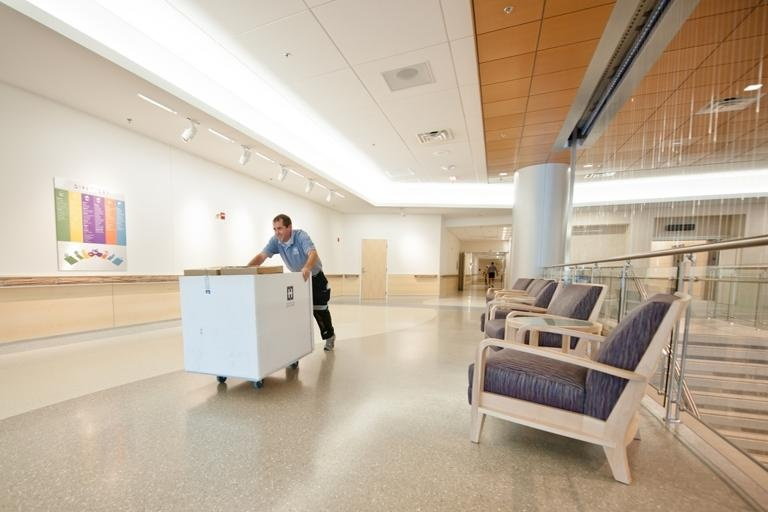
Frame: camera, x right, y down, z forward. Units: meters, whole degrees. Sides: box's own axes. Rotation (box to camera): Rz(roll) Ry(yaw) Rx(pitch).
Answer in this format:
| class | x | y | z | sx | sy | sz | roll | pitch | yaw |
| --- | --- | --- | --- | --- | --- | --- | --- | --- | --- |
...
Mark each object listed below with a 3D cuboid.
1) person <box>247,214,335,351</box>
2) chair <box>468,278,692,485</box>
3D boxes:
| class | x | y | z | sx | sy | sz | roll | pitch | yaw |
| --- | --- | --- | --- | --- | --- | --- | --- | --- | --- |
| person | -1.281 | 0.436 | 6.725 | 1.369 | 2.089 | 1.004 | 0 | 2 | -29 |
| chair | 2.163 | 1.350 | 5.484 | 2.299 | 2.020 | 1.680 | 1 | -3 | 22 |
